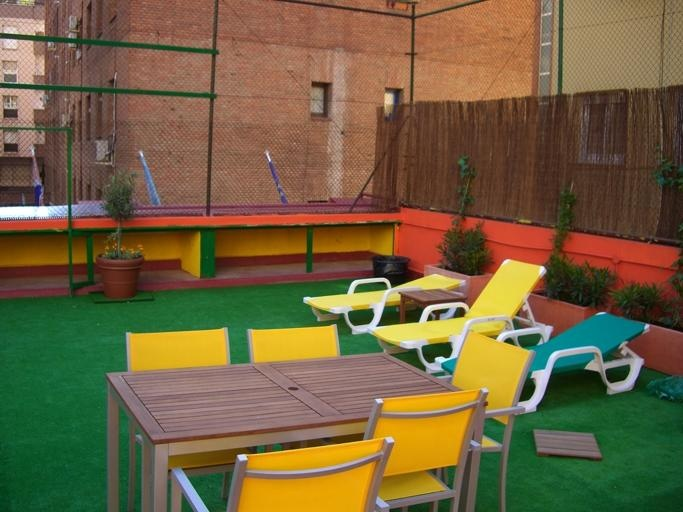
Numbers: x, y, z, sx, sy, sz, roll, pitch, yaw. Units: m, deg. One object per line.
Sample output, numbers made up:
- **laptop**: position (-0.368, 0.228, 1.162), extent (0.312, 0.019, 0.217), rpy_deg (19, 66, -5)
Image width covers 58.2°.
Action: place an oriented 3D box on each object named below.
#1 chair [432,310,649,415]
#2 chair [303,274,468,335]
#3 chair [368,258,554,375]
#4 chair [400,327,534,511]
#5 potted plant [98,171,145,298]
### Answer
- **chair**: position (2.499, 1.036, 6.527), extent (1.925, 0.655, 1.105), rpy_deg (-6, 11, -15)
- **chair**: position (0.607, 0.574, 8.593), extent (1.957, 0.592, 0.978), rpy_deg (-6, 11, -28)
- **chair**: position (1.419, 0.701, 7.460), extent (2.043, 1.210, 1.032), rpy_deg (-2, 5, -21)
- **chair**: position (1.012, 1.126, 4.653), extent (0.994, 1.487, 0.974), rpy_deg (-2, 6, -22)
- **potted plant**: position (-3.567, -0.388, 9.812), extent (0.670, 1.898, 1.252), rpy_deg (-2, 11, -20)
